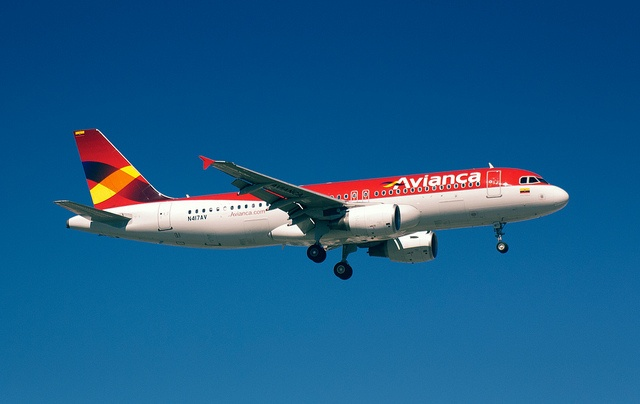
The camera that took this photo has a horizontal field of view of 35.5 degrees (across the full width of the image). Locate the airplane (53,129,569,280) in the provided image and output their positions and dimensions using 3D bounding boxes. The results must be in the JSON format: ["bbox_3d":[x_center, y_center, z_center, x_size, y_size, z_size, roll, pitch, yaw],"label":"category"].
[{"bbox_3d":[-1.674,0.493,50.744,15.978,3.782,13.131,-3,-4,12],"label":"airplane"}]
